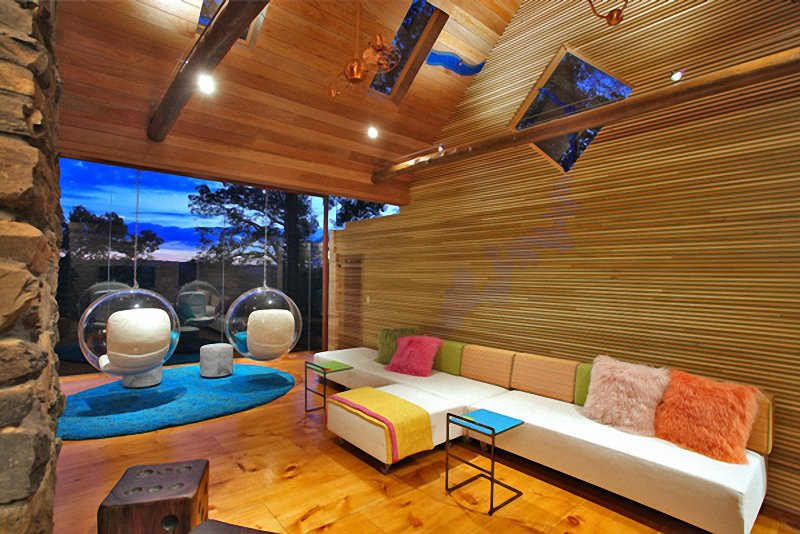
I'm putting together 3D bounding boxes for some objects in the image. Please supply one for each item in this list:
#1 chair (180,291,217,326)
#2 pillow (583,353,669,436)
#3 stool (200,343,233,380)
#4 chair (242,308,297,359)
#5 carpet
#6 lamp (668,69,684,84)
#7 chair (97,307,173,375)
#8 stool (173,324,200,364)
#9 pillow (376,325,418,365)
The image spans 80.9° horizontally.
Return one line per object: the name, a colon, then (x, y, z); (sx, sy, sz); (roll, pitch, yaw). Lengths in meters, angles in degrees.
chair: (-3.697, 0.710, 8.537); (0.667, 0.519, 0.593); (-2, 2, -26)
pillow: (2.353, 1.319, 4.903); (0.740, 0.614, 0.510); (6, 9, 31)
stool: (-3.008, 1.490, 7.623); (0.582, 0.480, 0.532); (-1, -1, 3)
chair: (-1.815, 0.921, 6.603); (0.786, 0.651, 0.734); (4, 9, -3)
carpet: (-3.129, 1.791, 6.664); (2.928, 0.126, 2.173); (-4, 9, -40)
lamp: (2.865, -1.980, 4.866); (0.124, 0.179, 0.226); (6, 9, 26)
chair: (-3.340, 0.892, 5.791); (0.933, 0.742, 0.934); (-1, -2, -36)
stool: (-3.811, 1.381, 8.446); (0.701, 0.544, 0.580); (2, -1, -32)
pillow: (-0.017, 1.164, 7.077); (0.880, 0.584, 0.320); (-3, 3, 41)
